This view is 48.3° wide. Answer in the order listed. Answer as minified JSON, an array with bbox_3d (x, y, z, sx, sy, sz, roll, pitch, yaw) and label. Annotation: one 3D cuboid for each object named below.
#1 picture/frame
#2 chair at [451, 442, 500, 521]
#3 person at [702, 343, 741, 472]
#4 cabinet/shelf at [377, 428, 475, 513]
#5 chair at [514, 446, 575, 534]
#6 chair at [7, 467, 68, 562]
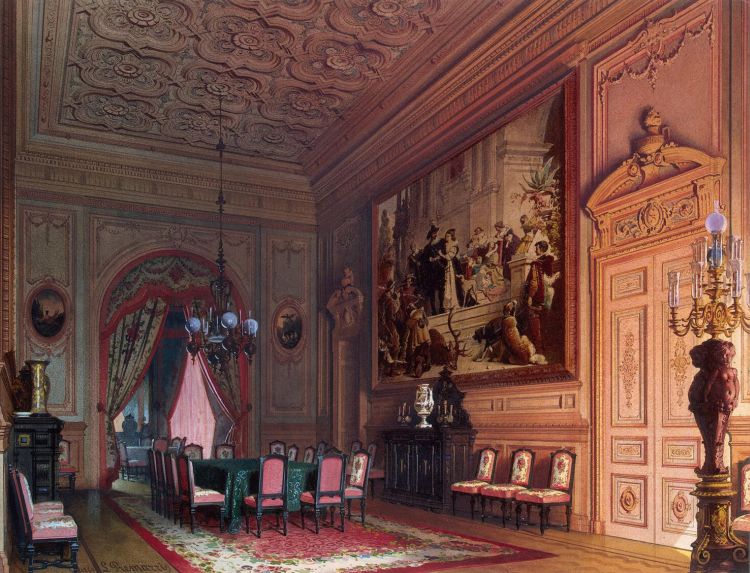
[{"bbox_3d":[1.318,-0.544,12.538,0.074,3.848,4.643,5,-10,-32],"label":"picture/frame"},{"bbox_3d":[1.346,2.642,11.412,0.573,0.928,0.533,10,-10,-43],"label":"chair"},{"bbox_3d":[3.097,1.089,7.550,0.306,1.185,0.168,-2,-3,23],"label":"person"},{"bbox_3d":[0.757,2.738,12.691,0.588,1.229,1.564,5,-9,-35],"label":"cabinet/shelf"},{"bbox_3d":[2.104,2.478,10.345,0.577,1.043,0.555,10,-10,-33],"label":"chair"},{"bbox_3d":[-3.802,2.558,9.346,0.433,0.875,1.039,1,-4,-19],"label":"chair"}]
